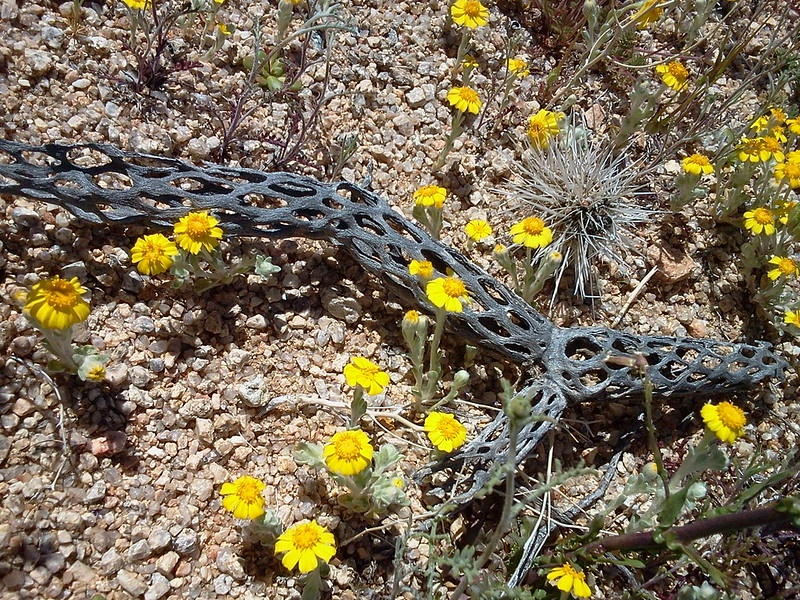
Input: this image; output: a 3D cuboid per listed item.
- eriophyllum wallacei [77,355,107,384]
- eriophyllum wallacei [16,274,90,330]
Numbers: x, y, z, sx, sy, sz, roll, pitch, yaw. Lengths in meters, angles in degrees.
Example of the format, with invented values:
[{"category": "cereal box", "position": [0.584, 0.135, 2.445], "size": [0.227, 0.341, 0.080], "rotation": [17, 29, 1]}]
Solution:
[{"category": "eriophyllum wallacei", "position": [-1.258, 0.273, 3.149], "size": [0.107, 0.067, 0.091], "rotation": [10, 40, -23]}, {"category": "eriophyllum wallacei", "position": [-1.342, 0.031, 3.021], "size": [0.210, 0.195, 0.195], "rotation": [-4, 47, -36]}]
